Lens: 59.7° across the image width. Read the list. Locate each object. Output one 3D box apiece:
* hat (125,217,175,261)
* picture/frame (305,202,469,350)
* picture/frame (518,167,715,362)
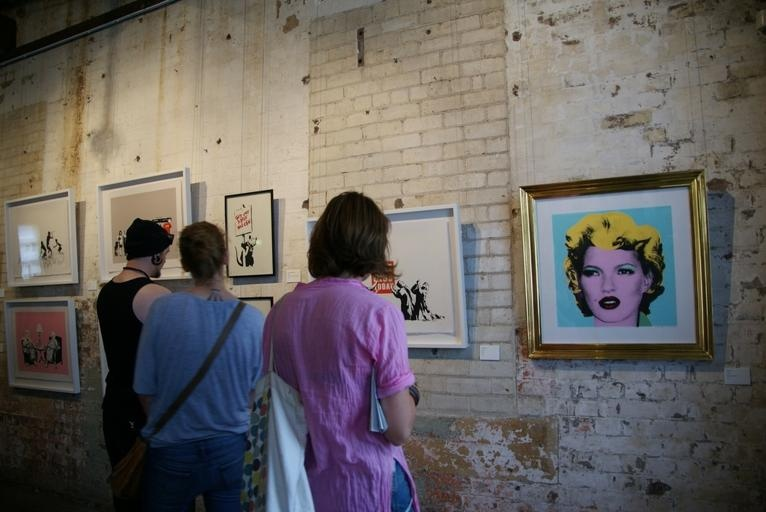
[{"bbox_3d":[-1.709,-0.105,4.967,0.248,0.290,0.337,-13,-13,20],"label":"hat"},{"bbox_3d":[0.077,0.156,4.441,1.108,0.986,0.116,-1,0,22],"label":"picture/frame"},{"bbox_3d":[1.746,0.081,4.813,1.343,1.388,0.100,-3,3,17],"label":"picture/frame"}]
